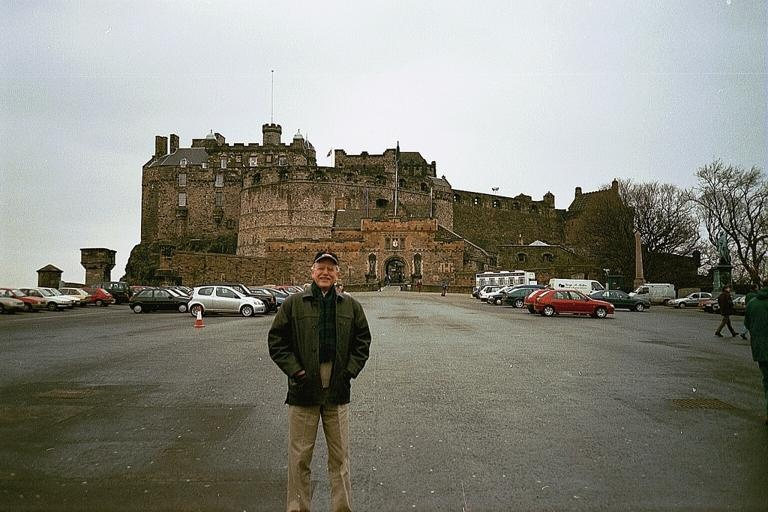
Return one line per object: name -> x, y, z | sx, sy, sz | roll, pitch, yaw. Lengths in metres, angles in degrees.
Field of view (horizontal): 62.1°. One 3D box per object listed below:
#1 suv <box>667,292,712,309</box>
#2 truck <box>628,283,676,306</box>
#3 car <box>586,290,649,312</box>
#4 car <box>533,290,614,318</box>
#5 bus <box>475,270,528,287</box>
suv -> 21.020, 3.006, 43.622 | 2.725, 0.910, 1.397 | -3, -2, 16
truck -> 19.680, 2.833, 46.703 | 2.455, 1.284, 1.425 | 1, -2, 7
car -> 13.372, 2.558, 36.894 | 3.362, 1.152, 1.625 | 0, 3, -2
car -> 9.168, 2.314, 30.652 | 3.300, 1.124, 1.536 | -1, 1, 2
bus -> 10.135, 2.126, 54.536 | 5.492, 1.647, 1.489 | -4, -1, 38
